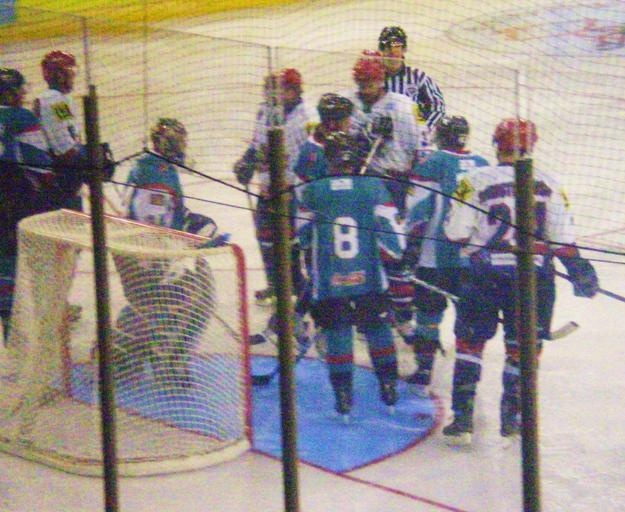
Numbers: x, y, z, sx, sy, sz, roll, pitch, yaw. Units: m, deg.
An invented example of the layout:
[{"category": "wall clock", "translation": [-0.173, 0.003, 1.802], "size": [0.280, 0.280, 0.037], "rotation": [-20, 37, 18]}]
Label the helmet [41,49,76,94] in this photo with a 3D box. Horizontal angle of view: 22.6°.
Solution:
[{"category": "helmet", "translation": [-1.824, -1.325, 11.183], "size": [0.260, 0.302, 0.106], "rotation": [-2, 14, -4]}]
